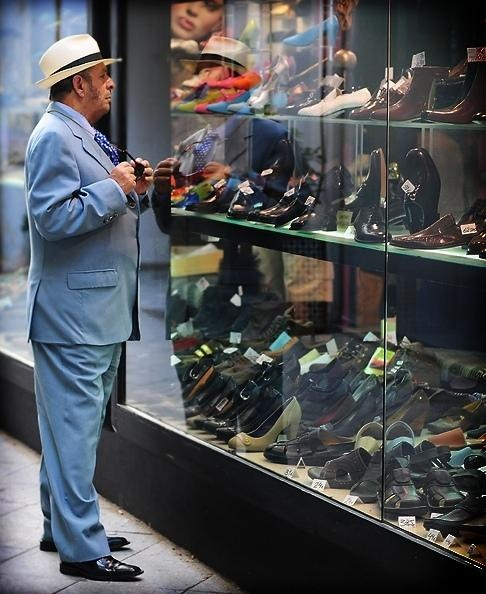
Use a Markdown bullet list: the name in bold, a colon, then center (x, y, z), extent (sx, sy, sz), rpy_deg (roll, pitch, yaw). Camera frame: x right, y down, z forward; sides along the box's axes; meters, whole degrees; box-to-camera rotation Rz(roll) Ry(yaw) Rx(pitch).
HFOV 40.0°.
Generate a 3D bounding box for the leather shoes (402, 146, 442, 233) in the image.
- **leather shoes**: center (0.463, -0.274, 1.704), extent (0.095, 0.205, 0.087), rpy_deg (5, 22, 41)

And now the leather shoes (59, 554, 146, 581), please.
- **leather shoes**: center (-0.443, 0.871, 2.194), extent (0.313, 0.086, 0.092), rpy_deg (0, -2, 4)

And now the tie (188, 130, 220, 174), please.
- **tie**: center (-0.146, -0.519, 2.422), extent (0.080, 0.053, 0.200), rpy_deg (-3, -23, -34)

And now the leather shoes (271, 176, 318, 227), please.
- **leather shoes**: center (0.179, -0.286, 2.084), extent (0.205, 0.087, 0.066), rpy_deg (-35, 27, 30)

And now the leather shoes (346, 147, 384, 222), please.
- **leather shoes**: center (0.324, -0.311, 1.795), extent (0.095, 0.167, 0.065), rpy_deg (17, 3, -27)

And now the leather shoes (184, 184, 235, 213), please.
- **leather shoes**: center (-0.115, -0.339, 2.372), extent (0.074, 0.060, 0.198), rpy_deg (-10, 9, -31)

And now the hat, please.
- **hat**: center (-0.559, -0.743, 2.130), extent (0.252, 0.071, 0.188), rpy_deg (-16, 13, 7)
